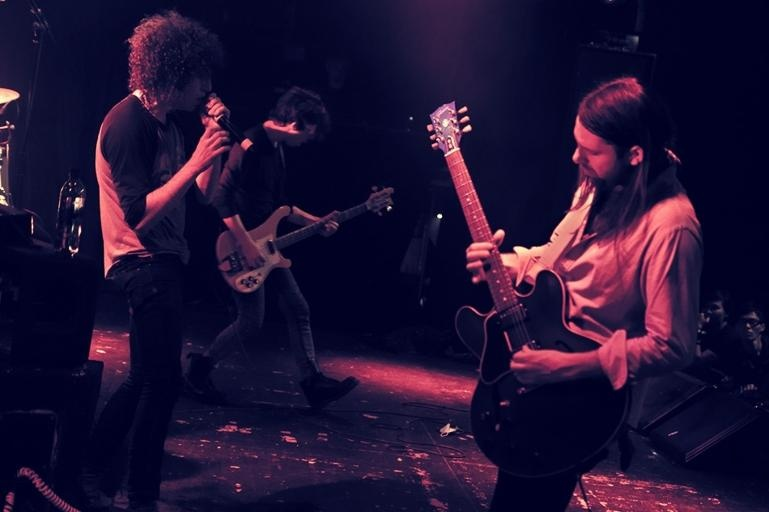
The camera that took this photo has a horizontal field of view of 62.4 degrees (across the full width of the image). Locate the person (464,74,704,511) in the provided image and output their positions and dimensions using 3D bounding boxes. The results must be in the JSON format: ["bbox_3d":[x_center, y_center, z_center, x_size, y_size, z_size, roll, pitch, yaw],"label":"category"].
[{"bbox_3d":[0.859,0.173,2.740,0.924,1.896,0.517,11,8,29],"label":"person"}]

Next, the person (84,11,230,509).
[{"bbox_3d":[-1.230,0.016,3.386,0.644,2.638,0.554,4,8,-24],"label":"person"}]

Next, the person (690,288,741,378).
[{"bbox_3d":[2.833,0.747,5.396,0.459,0.899,0.148,4,-6,41],"label":"person"}]
